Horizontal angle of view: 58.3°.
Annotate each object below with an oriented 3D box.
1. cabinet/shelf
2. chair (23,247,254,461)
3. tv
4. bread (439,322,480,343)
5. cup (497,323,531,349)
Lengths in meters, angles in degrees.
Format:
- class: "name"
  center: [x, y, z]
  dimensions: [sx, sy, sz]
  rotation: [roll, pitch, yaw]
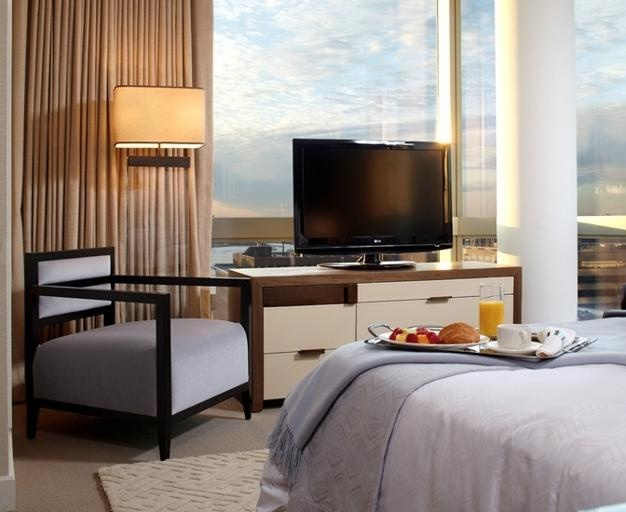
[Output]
- class: "cabinet/shelf"
  center: [0.491, 0.493, 3.811]
  dimensions: [1.753, 0.773, 0.566]
  rotation: [-3, 0, -2]
- class: "chair"
  center: [-0.925, 0.519, 3.389]
  dimensions: [1.071, 1.207, 1.116]
  rotation: [-1, 0, 21]
- class: "tv"
  center: [0.406, -0.374, 3.835]
  dimensions: [0.906, 0.699, 0.246]
  rotation: [0, -3, -15]
- class: "bread"
  center: [0.512, 0.256, 1.940]
  dimensions: [0.073, 0.038, 0.101]
  rotation: [1, 1, 39]
- class: "cup"
  center: [0.658, 0.260, 1.843]
  dimensions: [0.067, 0.060, 0.093]
  rotation: [0, 4, 13]
